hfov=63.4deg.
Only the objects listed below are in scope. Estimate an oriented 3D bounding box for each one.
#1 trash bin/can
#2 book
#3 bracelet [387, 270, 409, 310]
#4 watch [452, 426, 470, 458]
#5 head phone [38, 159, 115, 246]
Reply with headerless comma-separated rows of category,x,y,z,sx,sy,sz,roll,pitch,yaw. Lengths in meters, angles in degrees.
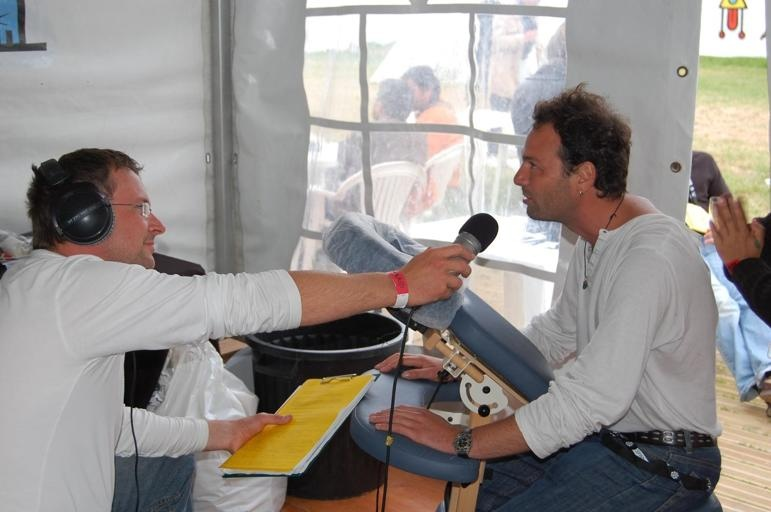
trash bin/can,-0.207,0.573,2.741,0.715,0.668,0.770,1,15,17
book,-0.248,0.510,1.902,0.295,0.065,0.457,-17,19,34
bracelet,0.042,0.099,1.817,0.084,0.083,0.087,-6,5,6
watch,0.227,0.571,1.876,0.051,0.069,0.065,1,-13,7
head phone,-0.983,-0.156,1.869,0.134,0.255,0.285,-27,6,-39
